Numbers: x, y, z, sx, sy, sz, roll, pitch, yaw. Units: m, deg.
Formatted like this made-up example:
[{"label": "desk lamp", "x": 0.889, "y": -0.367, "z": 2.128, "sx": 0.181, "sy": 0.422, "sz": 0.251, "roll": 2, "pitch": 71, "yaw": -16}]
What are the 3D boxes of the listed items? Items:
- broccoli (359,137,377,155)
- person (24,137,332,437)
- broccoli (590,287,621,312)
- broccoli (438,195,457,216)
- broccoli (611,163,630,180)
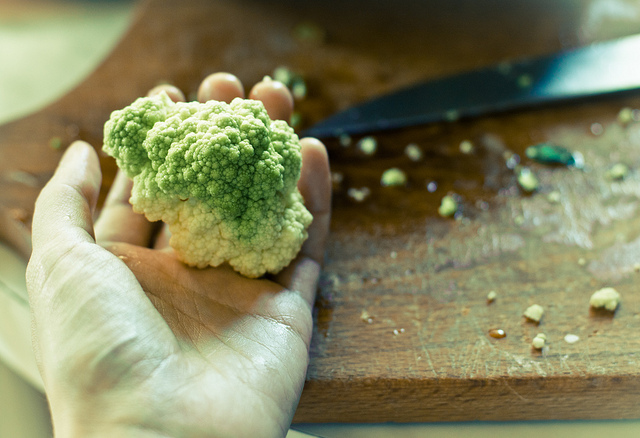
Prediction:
[{"label": "broccoli", "x": 0.136, "y": -0.206, "z": 1.870, "sx": 0.042, "sy": 0.023, "sz": 0.046, "roll": -13, "pitch": 69, "yaw": 1}, {"label": "person", "x": -0.338, "y": 0.175, "z": 1.547, "sx": 0.672, "sy": 0.282, "sz": 0.645, "roll": 8, "pitch": 89, "yaw": -1}, {"label": "broccoli", "x": 0.697, "y": 0.194, "z": 1.632, "sx": 0.056, "sy": 0.019, "sz": 0.059, "roll": 35, "pitch": 83, "yaw": 16}, {"label": "broccoli", "x": 0.343, "y": -0.034, "z": 1.789, "sx": 0.043, "sy": 0.024, "sz": 0.046, "roll": 6, "pitch": 69, "yaw": 11}, {"label": "broccoli", "x": 0.786, "y": -0.126, "z": 1.751, "sx": 0.034, "sy": 0.027, "sz": 0.045, "roll": -4, "pitch": 28, "yaw": 4}]
